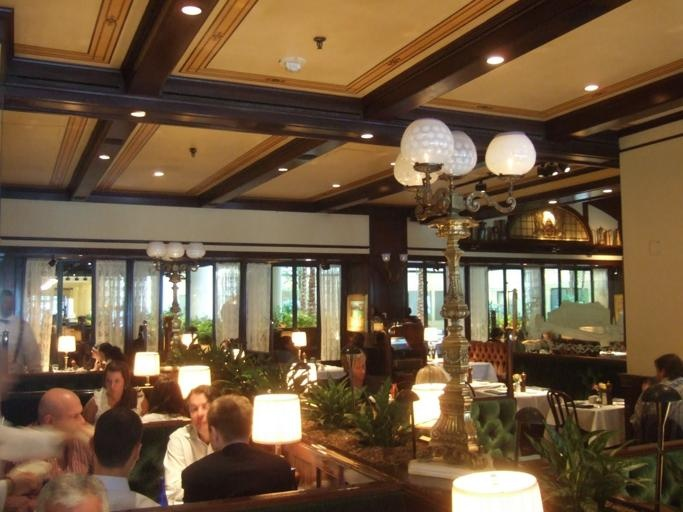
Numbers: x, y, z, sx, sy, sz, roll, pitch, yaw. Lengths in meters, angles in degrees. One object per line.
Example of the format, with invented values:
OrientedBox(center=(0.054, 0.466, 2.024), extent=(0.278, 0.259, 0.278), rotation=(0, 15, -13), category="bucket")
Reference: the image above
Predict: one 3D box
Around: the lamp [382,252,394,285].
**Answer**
OrientedBox(center=(1.025, 0.254, 13.015), extent=(0.292, 0.673, 0.092), rotation=(4, -7, -29), category="lamp")

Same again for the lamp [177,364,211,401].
OrientedBox(center=(-1.387, 1.179, 5.507), extent=(0.371, 0.338, 0.372), rotation=(-7, -12, 30), category="lamp")

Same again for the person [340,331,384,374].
OrientedBox(center=(0.413, 1.970, 11.733), extent=(1.050, 0.957, 0.561), rotation=(4, -1, 23), category="person")

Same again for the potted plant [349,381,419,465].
OrientedBox(center=(0.293, 1.142, 3.973), extent=(0.459, 0.464, 0.481), rotation=(-9, -16, 44), category="potted plant")

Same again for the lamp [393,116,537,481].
OrientedBox(center=(0.620, 0.250, 3.420), extent=(0.904, 2.018, 0.851), rotation=(-3, -6, 35), category="lamp")

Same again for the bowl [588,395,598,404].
OrientedBox(center=(3.191, 1.813, 7.326), extent=(0.146, 0.089, 0.212), rotation=(-1, -6, 17), category="bowl")

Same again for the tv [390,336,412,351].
OrientedBox(center=(1.125, 1.721, 11.325), extent=(0.320, 0.280, 0.246), rotation=(1, -11, -16), category="tv")
